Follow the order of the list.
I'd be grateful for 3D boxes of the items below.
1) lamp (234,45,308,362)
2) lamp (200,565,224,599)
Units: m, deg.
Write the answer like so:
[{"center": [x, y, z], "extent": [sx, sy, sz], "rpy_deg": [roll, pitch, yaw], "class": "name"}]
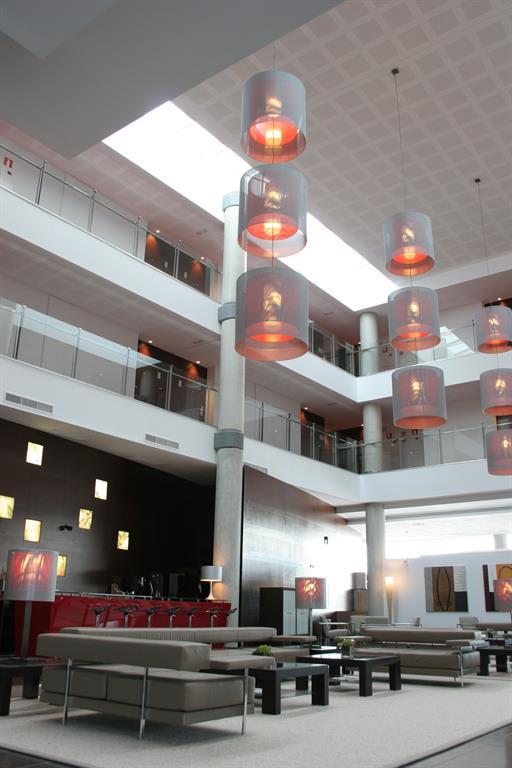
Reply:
[{"center": [0.140, -1.446, 4.822], "extent": [0.572, 2.283, 0.564], "rpy_deg": [4, -10, -21], "class": "lamp"}, {"center": [-0.888, 3.869, 11.273], "extent": [0.355, 0.627, 0.477], "rpy_deg": [11, -20, -32], "class": "lamp"}]
